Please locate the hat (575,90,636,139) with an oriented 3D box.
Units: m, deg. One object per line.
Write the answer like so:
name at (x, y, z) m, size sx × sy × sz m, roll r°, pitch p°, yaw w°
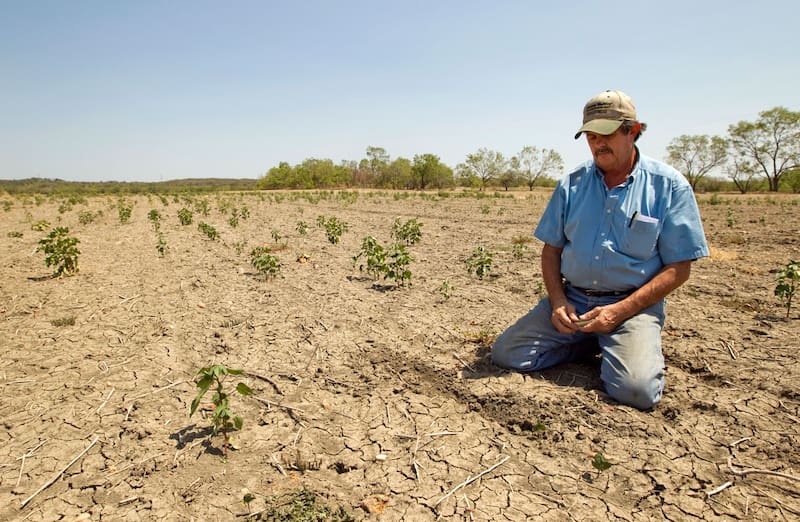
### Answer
hat at (2.182, -1.575, 5.210) m, size 0.829 × 0.443 × 0.542 m, roll -28°, pitch 23°, yaw -38°
